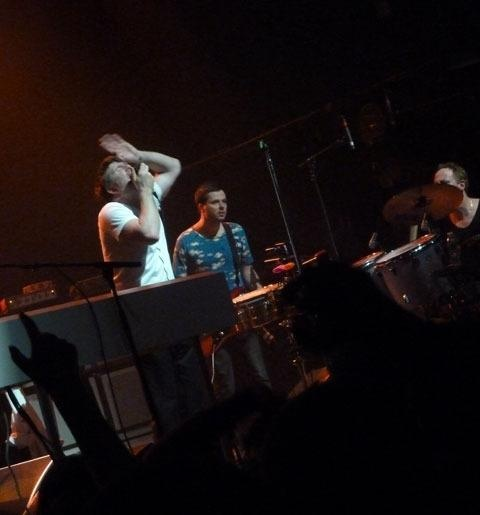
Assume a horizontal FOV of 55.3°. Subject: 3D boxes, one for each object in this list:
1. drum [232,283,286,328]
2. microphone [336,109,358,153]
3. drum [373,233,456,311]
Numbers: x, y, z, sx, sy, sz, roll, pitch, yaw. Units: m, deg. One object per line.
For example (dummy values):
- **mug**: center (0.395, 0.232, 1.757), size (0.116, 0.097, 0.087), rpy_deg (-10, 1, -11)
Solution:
- **drum**: center (0.114, 0.320, 2.874), size (0.302, 0.203, 0.385), rpy_deg (-21, 4, 16)
- **microphone**: center (0.901, -1.072, 3.813), size (0.080, 0.376, 0.051), rpy_deg (1, 35, 49)
- **drum**: center (1.170, 0.106, 3.186), size (0.484, 0.500, 0.480), rpy_deg (-32, -2, 11)
